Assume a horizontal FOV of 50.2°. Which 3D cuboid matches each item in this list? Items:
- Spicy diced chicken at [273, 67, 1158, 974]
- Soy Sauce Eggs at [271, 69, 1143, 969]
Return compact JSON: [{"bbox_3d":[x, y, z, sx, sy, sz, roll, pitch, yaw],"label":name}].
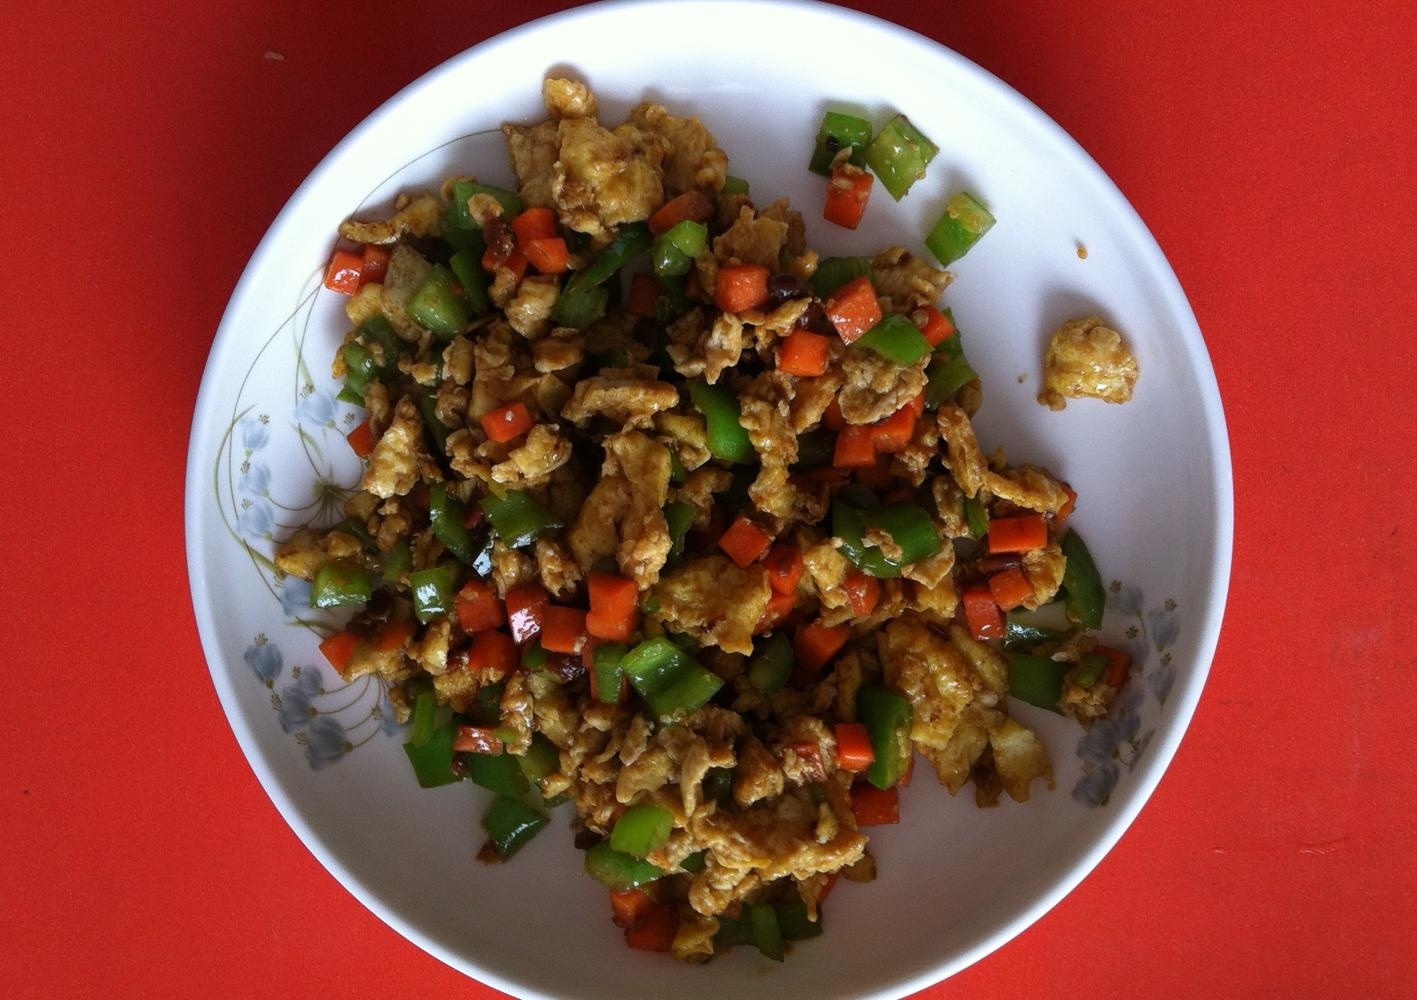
[{"bbox_3d":[0.050,0.040,5.452,2.769,0.625,3.141,-7,93,-6],"label":"Spicy diced chicken"},{"bbox_3d":[0.037,0.031,5.451,2.704,0.596,3.164,-3,93,-5],"label":"Soy Sauce Eggs"}]
